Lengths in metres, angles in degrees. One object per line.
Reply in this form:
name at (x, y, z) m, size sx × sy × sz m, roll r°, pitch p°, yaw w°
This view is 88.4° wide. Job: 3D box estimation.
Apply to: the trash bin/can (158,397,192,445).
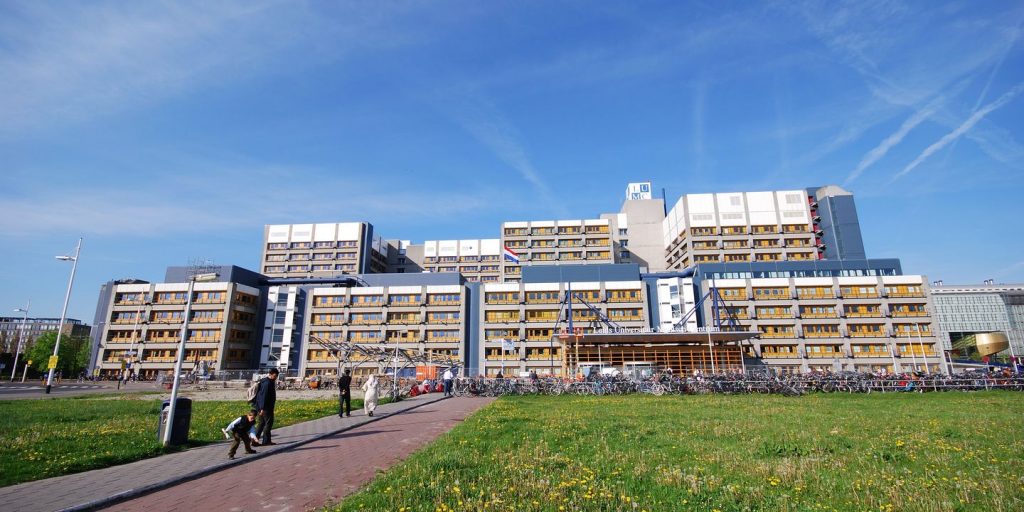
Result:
trash bin/can at (-24.891, 12.150, 38.753) m, size 1.898 × 3.409 × 0.845 m, roll 1°, pitch -4°, yaw -22°
